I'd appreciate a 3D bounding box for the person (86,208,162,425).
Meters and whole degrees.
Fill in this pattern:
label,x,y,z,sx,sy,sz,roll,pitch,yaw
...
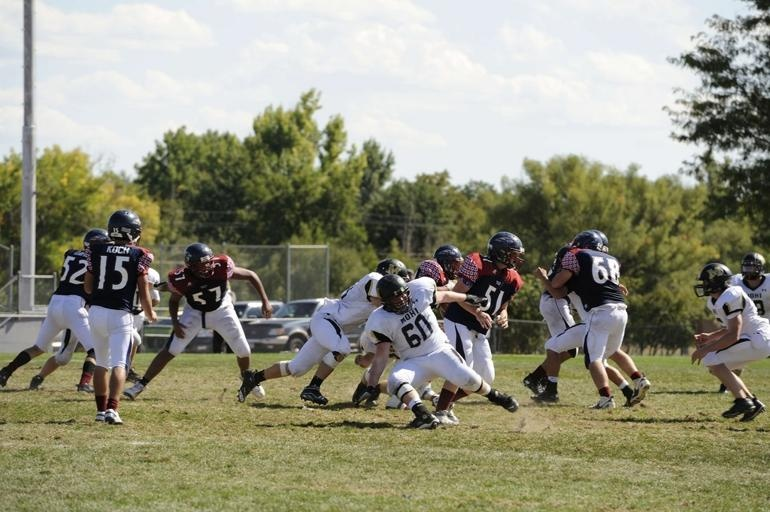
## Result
label,x,y,z,sx,sy,sz,roll,pitch,yaw
person,-3.947,0.863,19.403,0.870,2.943,1.136,4,12,17

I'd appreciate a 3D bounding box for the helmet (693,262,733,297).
label,x,y,z,sx,sy,sz,roll,pitch,yaw
helmet,5.079,0.390,20.684,0.603,0.589,0.485,0,-6,17

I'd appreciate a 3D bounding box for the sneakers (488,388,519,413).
label,x,y,z,sx,sy,sz,roll,pitch,yaw
sneakers,1.706,2.103,19.589,0.517,0.240,0.240,32,-10,-17

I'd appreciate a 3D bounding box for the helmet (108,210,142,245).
label,x,y,z,sx,sy,sz,roll,pitch,yaw
helmet,-3.905,-0.442,19.752,0.398,0.517,0.517,6,4,31

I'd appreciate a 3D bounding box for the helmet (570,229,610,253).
label,x,y,z,sx,sy,sz,roll,pitch,yaw
helmet,3.250,-0.239,21.089,0.470,0.448,0.371,40,22,32

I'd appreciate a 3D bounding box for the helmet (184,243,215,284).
label,x,y,z,sx,sy,sz,roll,pitch,yaw
helmet,-2.871,0.004,20.468,0.431,0.482,0.564,-21,39,-29

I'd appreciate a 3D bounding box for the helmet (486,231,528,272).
label,x,y,z,sx,sy,sz,roll,pitch,yaw
helmet,1.930,-0.022,20.483,0.473,0.560,0.626,22,-17,-40

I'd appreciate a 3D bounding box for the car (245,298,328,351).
label,x,y,z,sx,sy,sz,roll,pitch,yaw
car,-2.556,1.663,32.090,2.527,1.181,1.319,3,-6,-41

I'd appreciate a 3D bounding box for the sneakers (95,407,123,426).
label,x,y,z,sx,sy,sz,roll,pitch,yaw
sneakers,-4.000,2.287,19.166,0.381,0.219,0.223,-2,12,-13

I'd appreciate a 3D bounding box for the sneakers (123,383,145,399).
label,x,y,z,sx,sy,sz,roll,pitch,yaw
sneakers,-3.898,2.075,20.588,0.202,0.164,0.443,-38,-6,-1

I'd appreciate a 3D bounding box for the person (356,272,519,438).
label,x,y,z,sx,sy,sz,roll,pitch,yaw
person,0.695,1.475,19.829,1.348,1.694,0.997,-31,-39,22

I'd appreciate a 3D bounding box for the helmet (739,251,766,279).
label,x,y,z,sx,sy,sz,roll,pitch,yaw
helmet,6.179,0.148,22.473,0.326,0.396,0.460,-3,-6,27
